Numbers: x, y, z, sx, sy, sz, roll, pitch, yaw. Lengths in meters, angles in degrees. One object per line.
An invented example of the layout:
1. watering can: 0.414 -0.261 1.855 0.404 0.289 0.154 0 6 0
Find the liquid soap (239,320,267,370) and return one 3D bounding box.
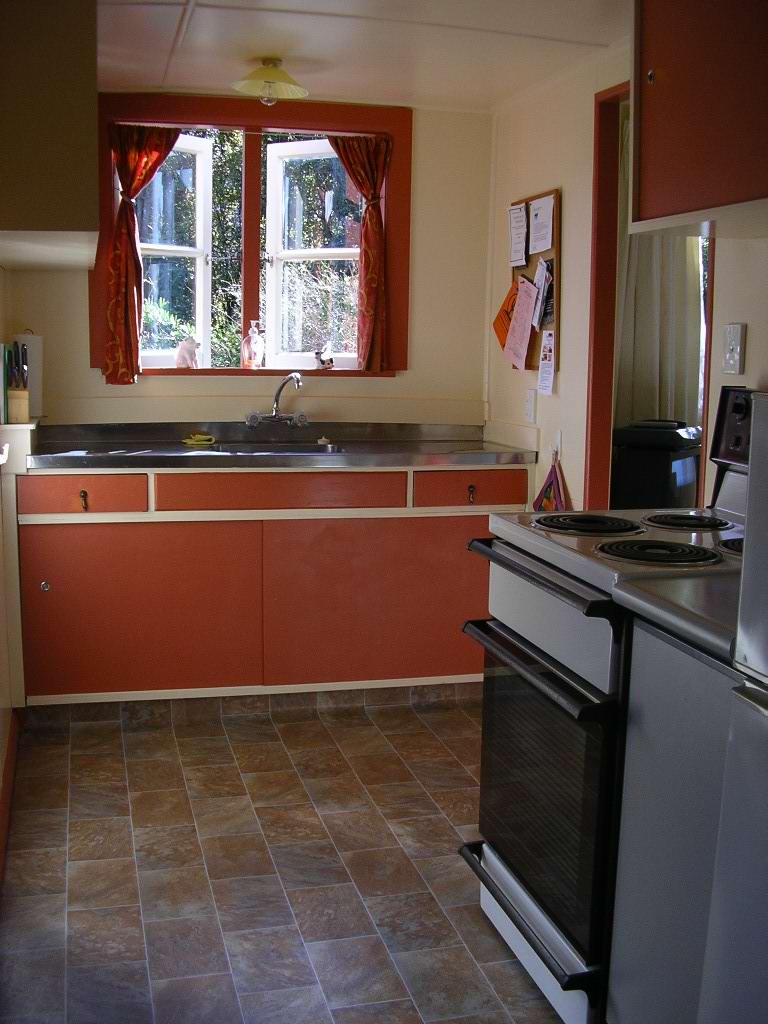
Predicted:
1. liquid soap: -0.555 -0.710 3.457 0.097 0.217 0.152 0 5 -8

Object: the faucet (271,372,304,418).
1. faucet: -0.401 -0.488 3.358 0.143 0.197 0.227 0 5 -6
